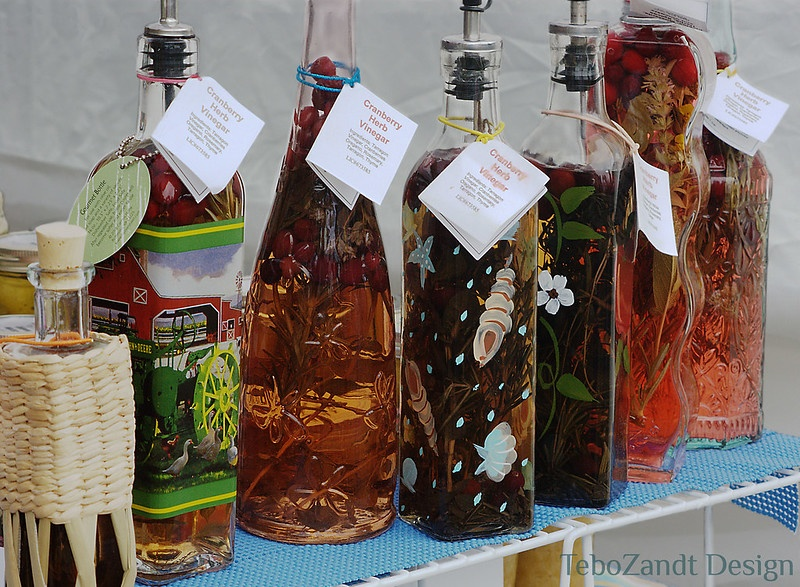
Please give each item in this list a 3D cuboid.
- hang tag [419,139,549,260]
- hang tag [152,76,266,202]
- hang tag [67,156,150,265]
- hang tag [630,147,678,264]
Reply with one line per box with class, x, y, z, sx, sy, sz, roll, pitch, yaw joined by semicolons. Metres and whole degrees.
hang tag;0.071;-0.082;0.803;0.107;0.095;0.041;-7;12;-31
hang tag;-0.153;-0.124;0.753;0.042;0.097;0.087;6;12;33
hang tag;-0.229;-0.064;0.738;0.066;0.087;0.010;50;21;24
hang tag;0.249;-0.087;0.903;0.034;0.098;0.083;6;13;34
